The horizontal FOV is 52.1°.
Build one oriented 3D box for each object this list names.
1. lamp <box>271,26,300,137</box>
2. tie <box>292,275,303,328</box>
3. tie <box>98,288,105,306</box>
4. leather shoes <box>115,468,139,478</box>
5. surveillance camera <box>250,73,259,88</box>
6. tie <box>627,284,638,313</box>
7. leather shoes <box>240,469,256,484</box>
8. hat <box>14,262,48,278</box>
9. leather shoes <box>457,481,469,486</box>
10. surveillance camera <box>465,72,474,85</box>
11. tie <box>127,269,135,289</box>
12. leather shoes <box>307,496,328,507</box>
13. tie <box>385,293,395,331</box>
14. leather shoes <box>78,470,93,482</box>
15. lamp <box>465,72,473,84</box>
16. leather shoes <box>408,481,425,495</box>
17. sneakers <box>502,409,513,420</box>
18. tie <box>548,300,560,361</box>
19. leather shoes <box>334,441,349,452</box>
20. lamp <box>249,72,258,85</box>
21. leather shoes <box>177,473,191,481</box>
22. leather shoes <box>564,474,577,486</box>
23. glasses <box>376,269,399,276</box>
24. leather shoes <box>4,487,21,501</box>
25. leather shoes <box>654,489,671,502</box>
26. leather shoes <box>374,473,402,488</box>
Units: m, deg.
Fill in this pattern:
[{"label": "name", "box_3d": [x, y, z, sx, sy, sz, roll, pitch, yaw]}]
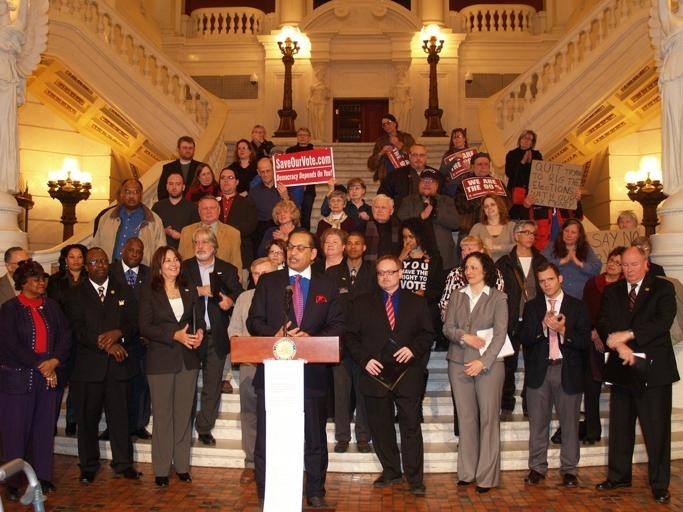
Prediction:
[{"label": "lamp", "box_3d": [-1.372, -4.346, 17.854, 0.642, 2.473, 0.704, 10, 19, 20]}, {"label": "tie", "box_3d": [-0.423, 0.437, 6.669, 0.092, 0.491, 0.059, 2, -25, -1]}, {"label": "tie", "box_3d": [-2.704, 0.443, 7.840, 0.061, 0.194, 0.088, 8, -11, -40]}, {"label": "leather shoes", "box_3d": [-2.361, 2.377, 7.672, 0.250, 0.116, 0.108, 1, 0, 5]}, {"label": "surveillance camera", "box_3d": [-2.553, -5.087, 20.330, 0.294, 0.456, 0.299, -10, 26, -24]}, {"label": "tie", "box_3d": [3.084, 0.440, 7.410, 0.090, 0.270, 0.075, -4, -9, 28]}, {"label": "leather shoes", "box_3d": [-1.022, 2.382, 7.566, 0.196, 0.148, 0.160, -1, -9, 12]}, {"label": "hat", "box_3d": [-3.304, 0.153, 7.358, 0.214, 0.138, 0.187, 2, -9, 27]}, {"label": "leather shoes", "box_3d": [1.288, 2.420, 7.446, 0.122, 0.041, 0.047, 3, -7, -7]}, {"label": "surveillance camera", "box_3d": [3.659, -5.081, 20.165, 0.271, 0.422, 0.266, 1, -12, 7]}, {"label": "tie", "box_3d": [-2.559, 0.284, 8.463, 0.125, 0.208, 0.047, -2, -20, -21]}, {"label": "leather shoes", "box_3d": [-0.243, 2.357, 6.704, 0.201, 0.098, 0.110, 0, -9, 7]}, {"label": "tie", "box_3d": [0.514, 0.592, 7.460, 0.100, 0.381, 0.067, 1, -8, 2]}, {"label": "leather shoes", "box_3d": [-2.732, 2.366, 7.478, 0.158, 0.120, 0.165, 4, -10, -20]}, {"label": "lamp", "box_3d": [3.672, -5.158, 20.199, 0.214, 0.325, 0.339, -2, -10, 19]}, {"label": "leather shoes", "box_3d": [0.764, 2.391, 7.198, 0.119, 0.068, 0.213, 1, 0, -3]}, {"label": "sneakers", "box_3d": [1.995, 1.925, 8.451, 0.107, 0.118, 0.117, 9, -11, -33]}, {"label": "tie", "box_3d": [2.331, 0.809, 7.662, 0.134, 0.658, 0.162, -2, -9, 17]}, {"label": "leather shoes", "box_3d": [0.012, 2.168, 7.945, 0.227, 0.120, 0.119, 7, -11, -34]}, {"label": "lamp", "box_3d": [-2.561, -5.149, 20.398, 0.258, 0.399, 0.267, -14, 33, -24]}, {"label": "leather shoes", "box_3d": [-1.702, 2.386, 7.545, 0.178, 0.082, 0.062, -7, -8, 40]}, {"label": "leather shoes", "box_3d": [2.416, 2.376, 7.404, 0.155, 0.116, 0.127, -2, -10, 17]}, {"label": "glasses", "box_3d": [0.483, 0.185, 7.336, 0.211, 0.059, 0.089, 0, -9, 5]}, {"label": "leather shoes", "box_3d": [-3.373, 2.428, 7.160, 0.138, 0.123, 0.217, 5, -11, -26]}, {"label": "leather shoes", "box_3d": [3.234, 2.401, 7.000, 0.237, 0.108, 0.121, 5, -10, -25]}, {"label": "leather shoes", "box_3d": [0.488, 2.373, 7.397, 0.287, 0.138, 0.126, 4, -6, -14]}]
